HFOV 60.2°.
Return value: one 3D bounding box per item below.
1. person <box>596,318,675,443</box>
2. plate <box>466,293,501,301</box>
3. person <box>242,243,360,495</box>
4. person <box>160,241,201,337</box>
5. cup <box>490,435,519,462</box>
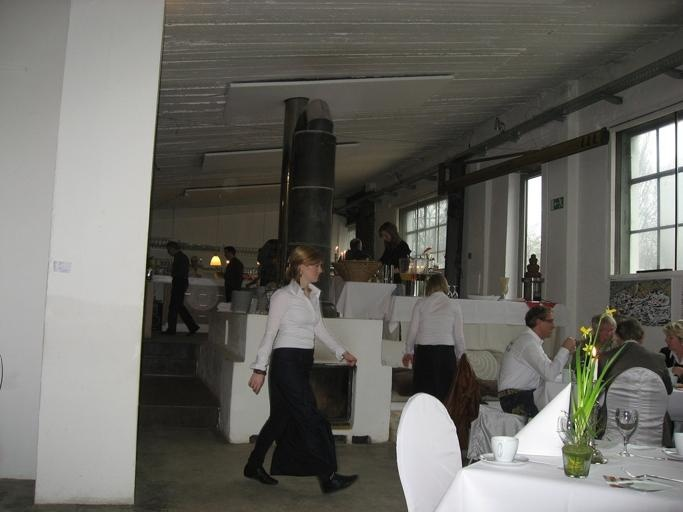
[{"bbox_3d":[1.950,0.944,3.969,0.456,1.205,0.399,-5,24,14],"label":"person"},{"bbox_3d":[1.778,0.528,7.381,0.388,0.059,0.293,1,-4,14],"label":"plate"},{"bbox_3d":[-0.294,0.786,4.163,0.721,1.688,0.326,3,-3,-9],"label":"person"},{"bbox_3d":[-2.850,0.531,10.494,0.560,1.641,1.286,3,-4,-17],"label":"person"},{"bbox_3d":[0.708,0.837,2.575,0.100,0.092,0.109,1,-14,0],"label":"cup"}]
